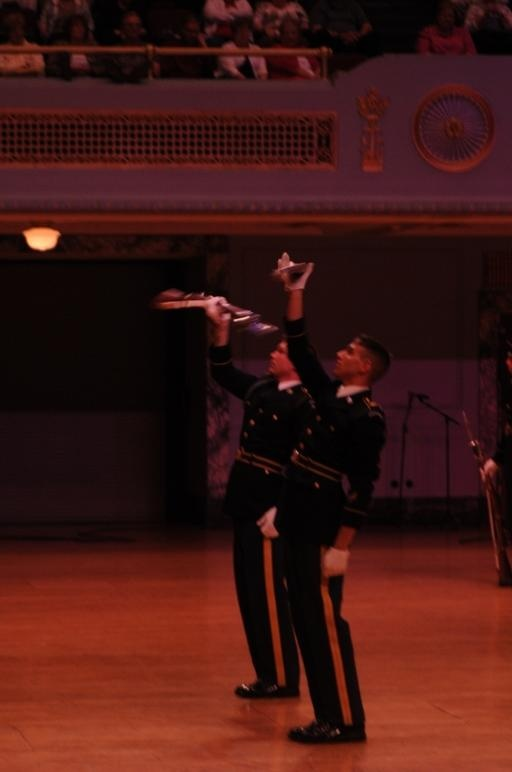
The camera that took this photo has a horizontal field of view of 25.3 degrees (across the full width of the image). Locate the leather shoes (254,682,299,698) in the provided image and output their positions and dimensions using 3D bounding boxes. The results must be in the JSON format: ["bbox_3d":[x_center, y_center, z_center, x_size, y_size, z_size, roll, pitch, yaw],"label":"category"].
[{"bbox_3d":[0.085,1.261,4.731,0.203,0.076,0.066,-1,-4,-9],"label":"leather shoes"}]

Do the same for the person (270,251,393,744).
[{"bbox_3d":[0.263,0.405,4.241,0.445,1.790,0.389,0,2,11],"label":"person"}]

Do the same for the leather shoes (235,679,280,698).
[{"bbox_3d":[0.008,1.238,4.681,0.126,0.050,0.077,-3,-2,-4],"label":"leather shoes"}]

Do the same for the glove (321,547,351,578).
[{"bbox_3d":[0.289,0.643,4.152,0.090,0.128,0.144,0,2,5],"label":"glove"}]

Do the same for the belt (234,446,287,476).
[{"bbox_3d":[-0.006,0.332,4.802,0.246,0.078,0.097,26,21,20],"label":"belt"}]

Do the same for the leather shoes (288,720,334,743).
[{"bbox_3d":[0.204,1.255,4.145,0.134,0.045,0.075,1,-3,-4],"label":"leather shoes"}]

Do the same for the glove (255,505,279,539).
[{"bbox_3d":[0.047,0.549,4.629,0.093,0.085,0.158,-36,3,12],"label":"glove"}]
